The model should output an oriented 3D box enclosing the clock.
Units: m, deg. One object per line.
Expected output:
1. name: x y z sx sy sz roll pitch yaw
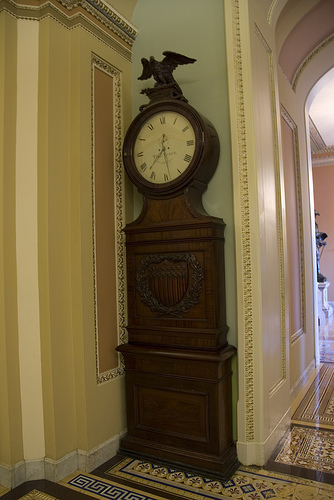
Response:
1. clock: -0.008 -0.651 2.596 0.533 0.622 0.157 -6 -7 30
